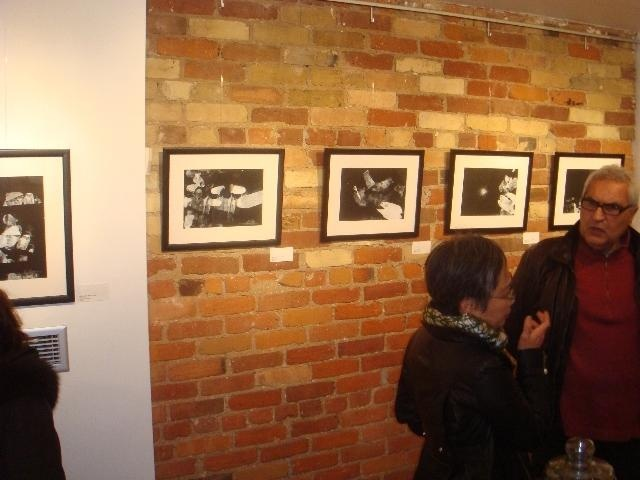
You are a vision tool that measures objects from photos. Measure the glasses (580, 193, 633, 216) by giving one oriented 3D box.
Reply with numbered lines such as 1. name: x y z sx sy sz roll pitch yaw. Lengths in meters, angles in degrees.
1. glasses: 1.353 -0.163 2.410 0.212 0.093 0.092 1 5 29

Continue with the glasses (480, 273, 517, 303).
1. glasses: 0.643 0.173 1.843 0.114 0.049 0.085 -12 7 20
